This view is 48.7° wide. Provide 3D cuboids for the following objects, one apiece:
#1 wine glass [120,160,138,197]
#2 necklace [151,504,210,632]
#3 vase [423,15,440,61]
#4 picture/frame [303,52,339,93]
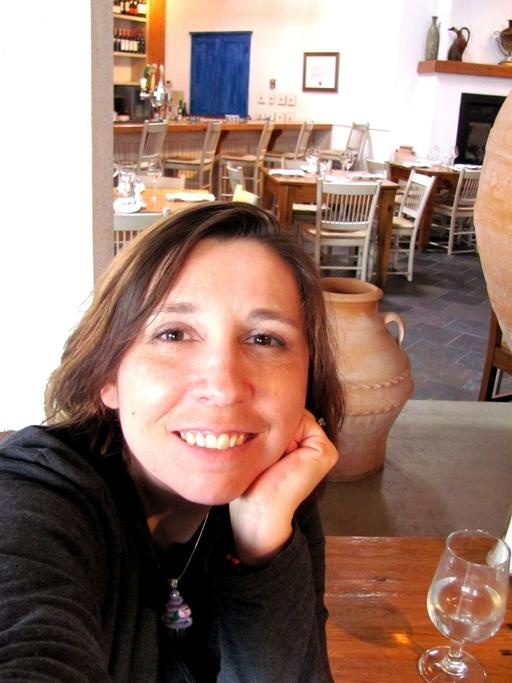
[{"bbox_3d":[-0.829,-1.051,3.679,0.114,0.216,0.408,3,13,-15],"label":"wine glass"},{"bbox_3d":[-0.095,0.312,0.747,0.039,0.126,0.034,5,-10,0],"label":"necklace"},{"bbox_3d":[2.553,-4.379,8.166,0.224,0.599,0.310,9,14,12],"label":"vase"},{"bbox_3d":[1.114,-4.543,9.465,0.812,0.753,0.066,11,21,33],"label":"picture/frame"}]
